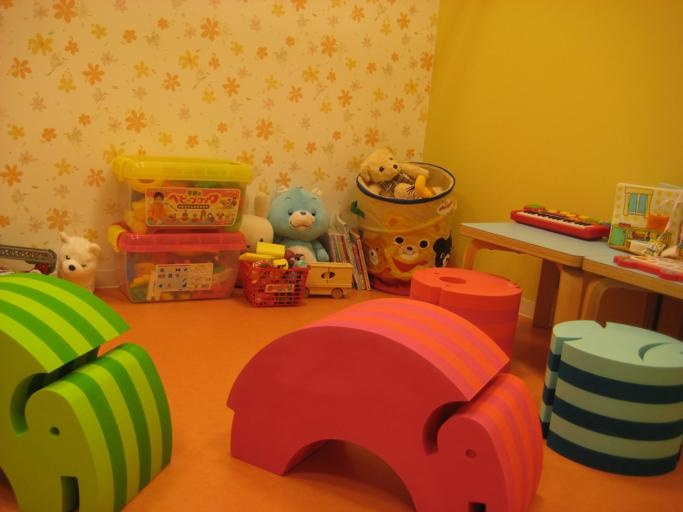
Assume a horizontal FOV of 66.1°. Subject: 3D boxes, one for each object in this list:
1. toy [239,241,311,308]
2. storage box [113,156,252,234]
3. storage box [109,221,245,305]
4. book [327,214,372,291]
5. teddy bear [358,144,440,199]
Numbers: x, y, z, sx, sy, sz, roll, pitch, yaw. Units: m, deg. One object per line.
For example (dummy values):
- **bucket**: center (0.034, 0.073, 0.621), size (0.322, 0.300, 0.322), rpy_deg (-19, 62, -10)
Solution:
- **toy**: center (-0.415, 0.100, 3.239), size (0.322, 0.308, 0.417), rpy_deg (0, 8, -9)
- **storage box**: center (-0.902, -0.357, 3.020), size (0.726, 0.407, 0.474), rpy_deg (0, 10, -22)
- **storage box**: center (-0.957, -0.025, 3.185), size (0.630, 0.354, 0.495), rpy_deg (-3, 10, -25)
- **book**: center (0.049, -0.007, 3.594), size (0.147, 0.403, 0.382), rpy_deg (-11, 26, -15)
- **teddy bear**: center (0.399, -0.566, 3.628), size (0.473, 0.212, 0.352), rpy_deg (23, 47, 20)
